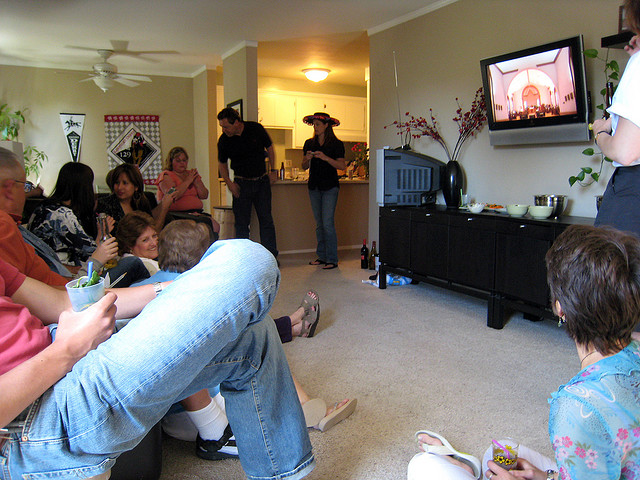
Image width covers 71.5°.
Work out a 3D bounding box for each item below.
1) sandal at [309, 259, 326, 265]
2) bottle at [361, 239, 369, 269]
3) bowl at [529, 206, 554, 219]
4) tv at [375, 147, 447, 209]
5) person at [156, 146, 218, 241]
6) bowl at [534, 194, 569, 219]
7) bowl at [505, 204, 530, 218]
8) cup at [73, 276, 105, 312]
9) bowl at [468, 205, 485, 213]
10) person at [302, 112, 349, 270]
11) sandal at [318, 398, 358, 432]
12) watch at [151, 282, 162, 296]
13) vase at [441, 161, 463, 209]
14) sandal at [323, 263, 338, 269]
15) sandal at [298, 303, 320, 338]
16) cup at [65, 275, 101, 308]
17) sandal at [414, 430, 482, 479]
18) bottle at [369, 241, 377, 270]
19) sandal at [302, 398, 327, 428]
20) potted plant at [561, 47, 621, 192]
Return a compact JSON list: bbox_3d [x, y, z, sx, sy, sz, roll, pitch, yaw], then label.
[{"bbox_3d":[-0.038,0.257,5.184,0.176,0.050,0.064,1,-1,-26],"label":"sandal"},{"bbox_3d":[0.490,0.142,4.879,0.085,0.352,0.248,-1,14,7],"label":"bottle"},{"bbox_3d":[1.506,-0.173,3.014,0.097,0.063,0.101,2,-1,0],"label":"bowl"},{"bbox_3d":[0.766,-0.578,4.218,0.627,0.542,0.637,-2,9,-32],"label":"tv"},{"bbox_3d":[-1.319,-0.342,4.457,0.642,1.126,0.478,3,9,40],"label":"person"},{"bbox_3d":[1.614,-0.217,3.094,0.179,0.130,0.179,2,1,0],"label":"bowl"},{"bbox_3d":[1.407,-0.207,3.163,0.110,0.069,0.114,3,2,0],"label":"bowl"},{"bbox_3d":[-0.674,0.152,1.324,0.084,0.086,0.083,1,12,0],"label":"cup"},{"bbox_3d":[1.200,-0.237,3.424,0.064,0.045,0.065,-1,3,0],"label":"bowl"},{"bbox_3d":[0.071,-0.569,5.237,0.507,1.787,1.147,-3,14,-2],"label":"person"},{"bbox_3d":[0.076,0.791,2.090,0.219,0.076,0.076,-33,41,-32],"label":"sandal"},{"bbox_3d":[-0.617,0.185,1.691,0.029,0.043,0.044,4,-8,-18],"label":"watch"},{"bbox_3d":[1.148,-0.493,3.884,0.138,0.371,0.190,0,15,13],"label":"vase"},{"bbox_3d":[0.121,0.292,4.951,0.148,0.051,0.117,-3,15,0],"label":"sandal"},{"bbox_3d":[-0.067,0.564,3.009,0.080,0.259,0.091,6,7,-44],"label":"sandal"},{"bbox_3d":[-0.659,0.145,1.280,0.090,0.105,0.091,1,9,0],"label":"cup"},{"bbox_3d":[0.487,0.818,1.746,0.275,0.115,0.070,24,-19,30],"label":"sandal"},{"bbox_3d":[0.579,0.169,4.858,0.086,0.296,0.092,-3,14,1],"label":"bottle"},{"bbox_3d":[-0.025,0.763,1.976,0.072,0.136,0.025,8,-4,-29],"label":"sandal"},{"bbox_3d":[1.884,-0.776,2.952,0.335,0.978,0.338,12,-5,28],"label":"potted plant"}]
